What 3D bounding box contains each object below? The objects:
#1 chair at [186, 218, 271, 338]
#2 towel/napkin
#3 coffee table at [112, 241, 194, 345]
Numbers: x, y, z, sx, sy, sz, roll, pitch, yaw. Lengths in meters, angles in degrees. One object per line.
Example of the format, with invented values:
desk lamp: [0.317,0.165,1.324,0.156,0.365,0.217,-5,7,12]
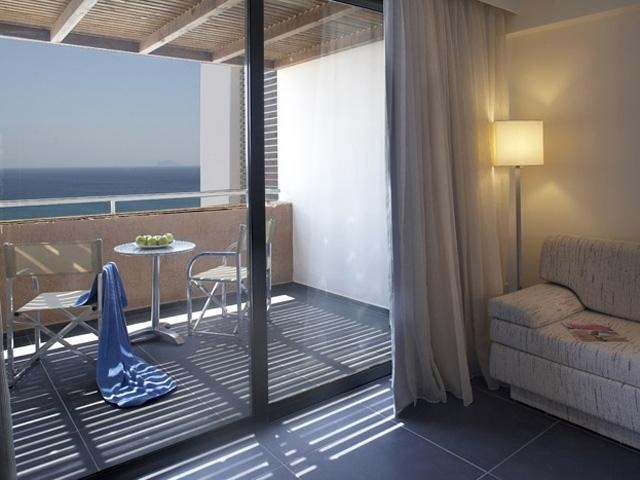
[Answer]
chair: [-0.754,0.299,4.064,0.884,0.933,0.885,-4,8,-26]
towel/napkin: [-1.416,0.649,3.482,0.479,0.872,0.724,-11,13,-36]
coffee table: [-1.468,0.465,4.247,0.683,0.796,0.693,6,-4,-34]
